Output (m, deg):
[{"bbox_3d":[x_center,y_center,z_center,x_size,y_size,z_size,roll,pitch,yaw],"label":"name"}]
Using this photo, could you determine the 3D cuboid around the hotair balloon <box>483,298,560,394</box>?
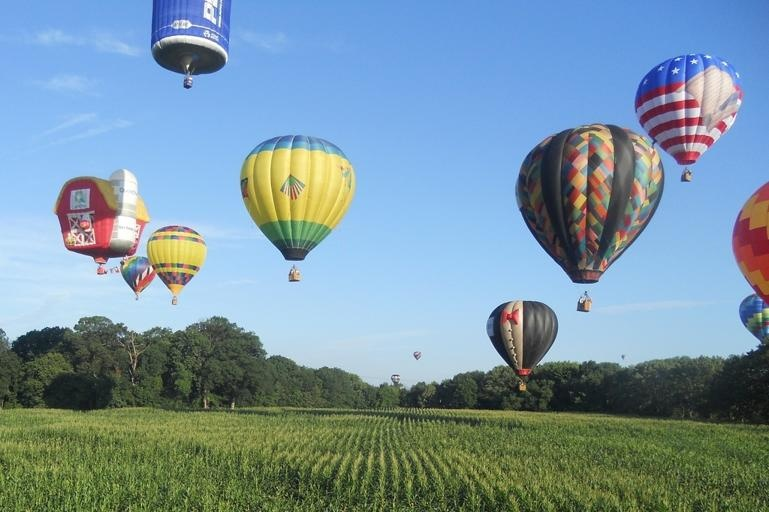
[{"bbox_3d":[8.104,5.236,46.136,3.981,5.515,4.122,3,-4,-24],"label":"hotair balloon"}]

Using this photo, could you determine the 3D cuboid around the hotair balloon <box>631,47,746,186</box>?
[{"bbox_3d":[15.772,-7.332,41.022,6.790,7.095,7.138,-3,9,3],"label":"hotair balloon"}]

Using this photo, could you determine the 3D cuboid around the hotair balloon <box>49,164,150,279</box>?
[{"bbox_3d":[-14.621,-1.804,40.592,3.857,5.341,4.133,-6,-9,32],"label":"hotair balloon"}]

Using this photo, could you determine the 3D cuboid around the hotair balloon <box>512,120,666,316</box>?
[{"bbox_3d":[10.567,-2.169,40.982,7.108,9.931,7.237,4,4,42],"label":"hotair balloon"}]
